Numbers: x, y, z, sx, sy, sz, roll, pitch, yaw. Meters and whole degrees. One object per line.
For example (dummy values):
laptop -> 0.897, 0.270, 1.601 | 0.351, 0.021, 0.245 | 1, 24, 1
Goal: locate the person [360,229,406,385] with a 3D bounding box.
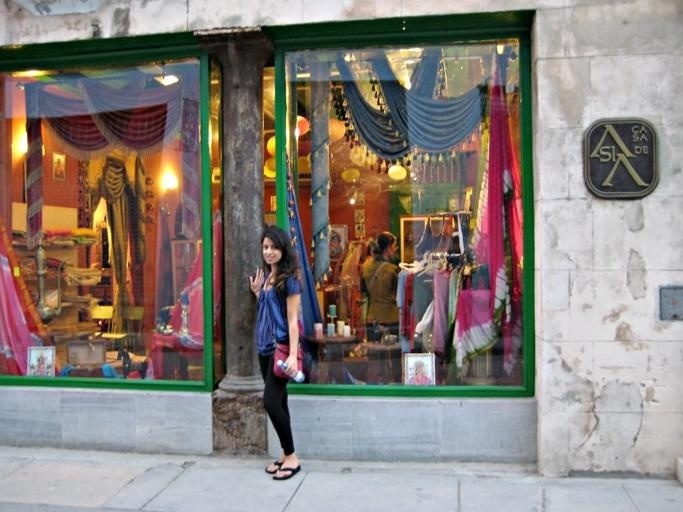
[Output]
person -> 0.442, 0.589, 11.376 | 0.358, 1.509, 0.522 | 4, 3, 3

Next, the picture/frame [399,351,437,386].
picture/frame -> 0.838, 1.223, 11.191 | 0.289, 0.402, 0.053 | 1, -22, 3

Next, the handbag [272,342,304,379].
handbag -> -0.547, 1.051, 10.392 | 0.271, 0.375, 0.114 | 4, -15, -6

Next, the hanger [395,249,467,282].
hanger -> 1.017, 0.095, 11.261 | 0.516, 0.335, 0.392 | 1, 2, 9

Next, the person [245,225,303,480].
person -> -0.662, 0.977, 10.659 | 0.397, 2.515, 0.868 | -2, 4, -33
